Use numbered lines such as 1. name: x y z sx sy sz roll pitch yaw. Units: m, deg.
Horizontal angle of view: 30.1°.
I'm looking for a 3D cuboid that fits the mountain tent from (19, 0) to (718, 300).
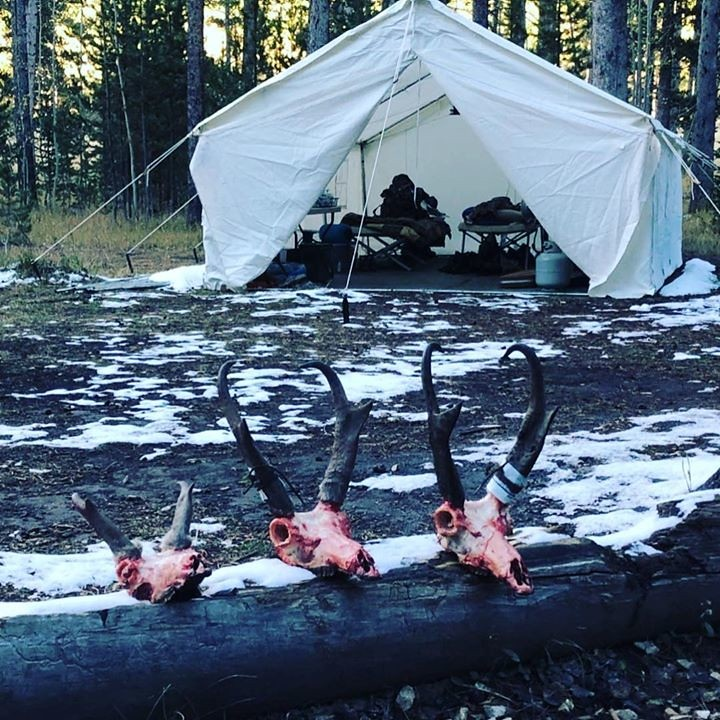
1. mountain tent: 0.702 -2.203 13.336 4.171 1.829 4.120 -1 6 5
